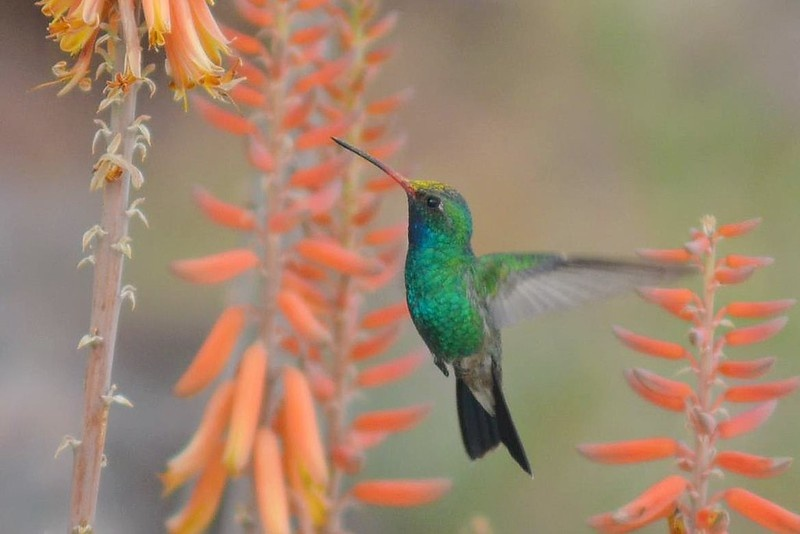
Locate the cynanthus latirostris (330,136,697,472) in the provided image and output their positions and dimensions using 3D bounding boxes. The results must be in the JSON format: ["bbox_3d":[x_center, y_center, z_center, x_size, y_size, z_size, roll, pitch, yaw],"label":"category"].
[{"bbox_3d":[0.164,0.050,1.842,0.450,0.604,0.292,29,-93,-9],"label":"cynanthus latirostris"}]
